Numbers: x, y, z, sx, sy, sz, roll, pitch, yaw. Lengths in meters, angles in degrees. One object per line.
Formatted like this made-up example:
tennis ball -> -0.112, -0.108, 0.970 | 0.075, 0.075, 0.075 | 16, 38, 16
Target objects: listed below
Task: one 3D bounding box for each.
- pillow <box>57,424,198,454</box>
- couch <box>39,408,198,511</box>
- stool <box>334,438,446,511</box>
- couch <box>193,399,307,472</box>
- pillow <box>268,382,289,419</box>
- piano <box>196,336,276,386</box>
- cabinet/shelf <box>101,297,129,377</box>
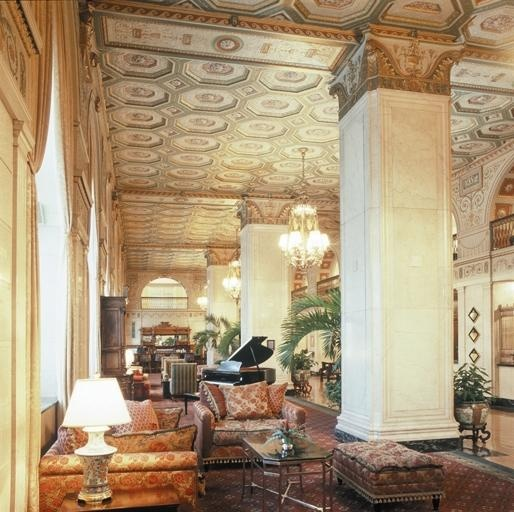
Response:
pillow -> -0.975, 1.364, 3.602 | 0.720, 0.215, 0.661 | 3, -16, -14
couch -> -0.972, 1.458, 3.677 | 0.773, 0.609, 0.671 | 1, -9, -8
stool -> 1.200, 2.003, 4.489 | 0.691, 0.440, 0.817 | 0, -6, -13
couch -> -0.143, 1.994, 5.629 | 1.703, 0.805, 1.146 | 1, -14, -10
pillow -> 0.233, 1.939, 6.558 | 0.138, 0.361, 0.421 | 21, -19, -35
piano -> -0.305, 1.892, 8.710 | 0.882, 0.784, 1.204 | -9, -14, 34
cabinet/shelf -> -2.745, 1.516, 9.251 | 0.472, 1.496, 0.811 | 1, -7, -16
